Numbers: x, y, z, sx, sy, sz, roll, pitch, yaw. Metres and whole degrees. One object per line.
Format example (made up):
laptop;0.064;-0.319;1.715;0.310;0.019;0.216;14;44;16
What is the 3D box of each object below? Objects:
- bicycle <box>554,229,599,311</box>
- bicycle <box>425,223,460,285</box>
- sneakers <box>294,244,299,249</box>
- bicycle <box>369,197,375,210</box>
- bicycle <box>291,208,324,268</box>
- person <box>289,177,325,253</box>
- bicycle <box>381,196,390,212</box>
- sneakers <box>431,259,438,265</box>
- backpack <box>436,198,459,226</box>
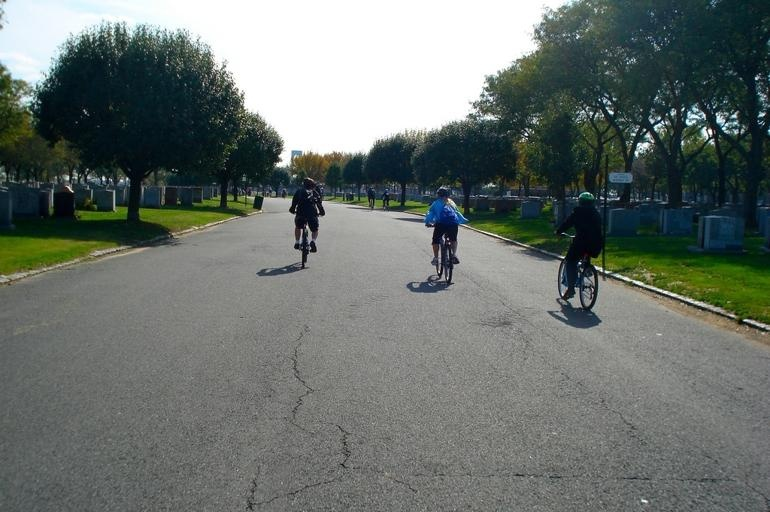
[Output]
bicycle;4.004;0.447;13.116;0.769;1.237;1.817;2;11;-1
bicycle;1.428;0.040;15.478;0.604;0.961;1.424;2;11;-1
sneakers;-2.448;-0.267;17.399;0.147;0.175;0.167;0;2;6
bicycle;-1.287;-5.452;64.725;0.916;1.244;0.764;4;-2;-39
bicycle;-2.229;-0.650;17.915;0.761;1.130;1.666;2;7;-2
person;-2.201;-1.180;17.882;1.047;2.271;1.082;7;-10;-41
bicycle;0.092;-5.233;59.845;0.452;1.643;1.749;-1;12;-8
sneakers;1.274;0.153;16.082;0.190;0.108;0.290;3;7;7
backpack;1.617;-1.141;15.704;0.689;0.630;0.339;-10;15;-42
